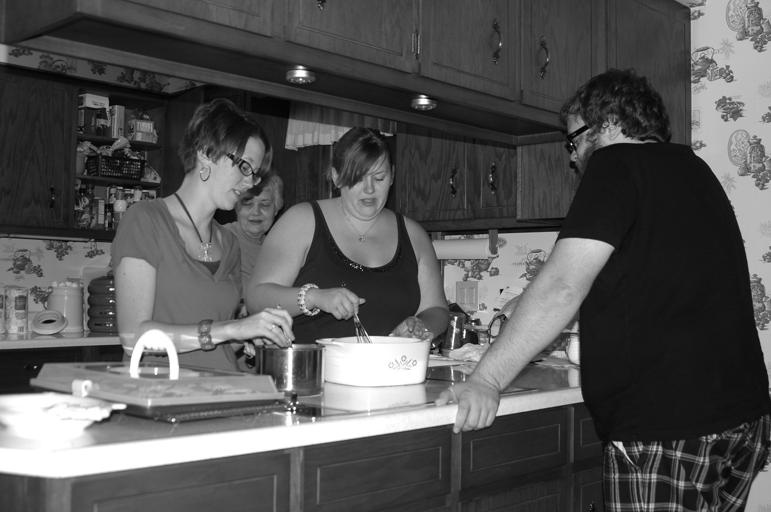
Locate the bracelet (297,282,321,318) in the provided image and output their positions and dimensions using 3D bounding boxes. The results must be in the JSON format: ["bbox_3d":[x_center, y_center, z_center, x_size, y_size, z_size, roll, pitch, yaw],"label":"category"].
[{"bbox_3d":[-0.262,0.135,2.308,0.034,0.095,0.087,-4,-35,32],"label":"bracelet"}]

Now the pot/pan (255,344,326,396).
[{"bbox_3d":[-0.260,0.300,1.963,0.149,0.110,0.148,-1,-2,44],"label":"pot/pan"}]

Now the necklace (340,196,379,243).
[{"bbox_3d":[-0.094,-0.126,2.556,0.114,0.154,0.064,-7,-13,-27],"label":"necklace"}]

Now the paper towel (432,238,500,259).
[{"bbox_3d":[0.375,-0.036,3.488,0.342,0.099,0.091,-2,10,12],"label":"paper towel"}]

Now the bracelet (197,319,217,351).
[{"bbox_3d":[-0.515,0.226,2.059,0.054,0.082,0.077,-3,-13,0],"label":"bracelet"}]

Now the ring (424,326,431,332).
[{"bbox_3d":[0.142,0.250,2.430,0.022,0.021,0.022,1,3,0],"label":"ring"}]

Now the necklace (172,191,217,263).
[{"bbox_3d":[-0.608,-0.096,2.306,0.054,0.223,0.165,-16,-4,16],"label":"necklace"}]

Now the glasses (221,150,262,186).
[{"bbox_3d":[-0.452,-0.277,2.226,0.025,0.083,0.085,-42,-18,4],"label":"glasses"}]

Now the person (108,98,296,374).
[{"bbox_3d":[-0.531,-0.056,2.114,0.487,0.889,0.607,-1,5,-34],"label":"person"}]

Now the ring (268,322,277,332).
[{"bbox_3d":[-0.309,0.194,1.950,0.026,0.021,0.011,-1,5,-34],"label":"ring"}]

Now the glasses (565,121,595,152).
[{"bbox_3d":[0.605,-0.375,2.191,0.065,0.020,0.062,-42,-9,5],"label":"glasses"}]

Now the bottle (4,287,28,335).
[{"bbox_3d":[-2.120,0.314,4.030,0.125,0.247,0.331,0,4,-28],"label":"bottle"}]
